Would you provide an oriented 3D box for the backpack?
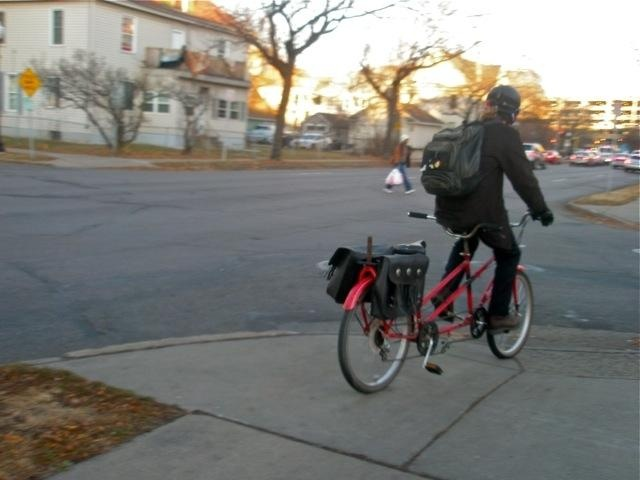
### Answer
[{"bbox_3d":[1.078,-0.659,5.685,0.482,0.644,0.395,6,13,6],"label":"backpack"}]

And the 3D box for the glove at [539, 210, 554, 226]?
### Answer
[{"bbox_3d":[1.954,-0.184,6.003,0.152,0.137,0.057,-2,-3,-3],"label":"glove"}]

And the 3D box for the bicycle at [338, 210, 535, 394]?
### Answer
[{"bbox_3d":[0.764,0.523,6.176,2.301,1.049,1.118,-9,11,-35],"label":"bicycle"}]

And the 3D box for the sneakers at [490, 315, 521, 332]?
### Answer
[{"bbox_3d":[1.602,0.734,6.137,0.342,0.119,0.112,-9,14,-19],"label":"sneakers"}]

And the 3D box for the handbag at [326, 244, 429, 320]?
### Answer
[{"bbox_3d":[0.482,0.313,5.572,0.683,0.418,0.710,7,4,18],"label":"handbag"}]
